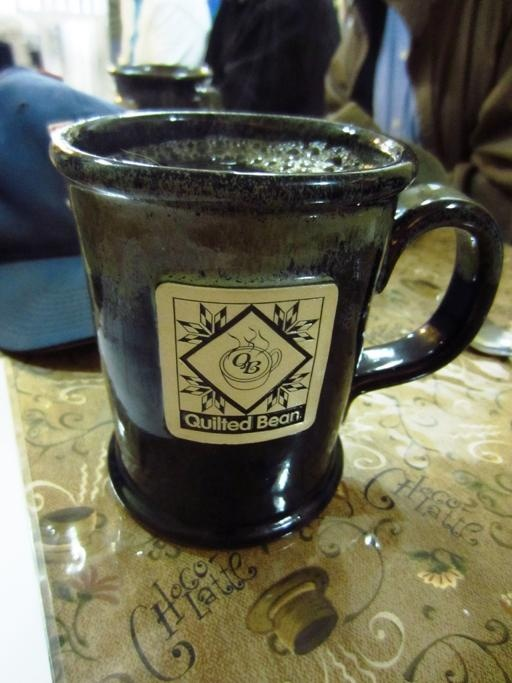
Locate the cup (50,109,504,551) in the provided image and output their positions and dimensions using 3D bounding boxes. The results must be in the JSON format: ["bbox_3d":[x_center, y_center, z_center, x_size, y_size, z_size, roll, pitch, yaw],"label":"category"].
[{"bbox_3d":[0.025,-0.040,0.403,0.296,0.233,0.181,-5,35,-15],"label":"cup"}]
